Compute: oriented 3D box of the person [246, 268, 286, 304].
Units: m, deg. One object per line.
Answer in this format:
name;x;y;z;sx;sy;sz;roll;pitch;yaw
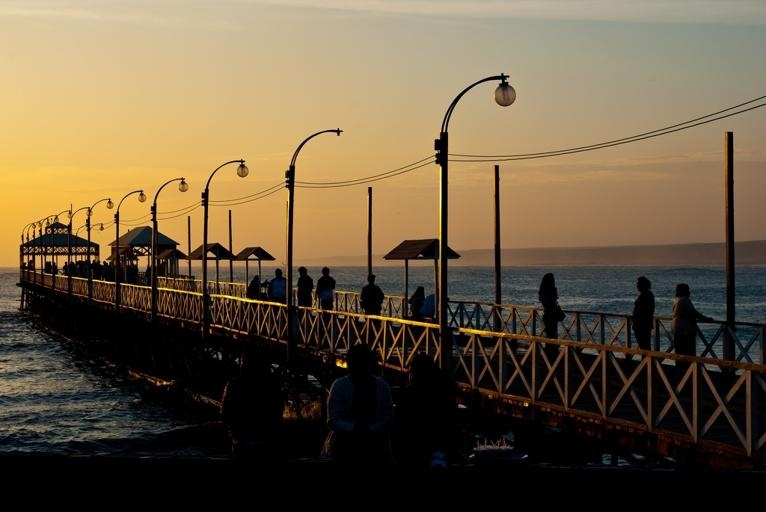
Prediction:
person;-3.882;1.044;42.736;1.126;0.757;1.967;1;-5;-12
